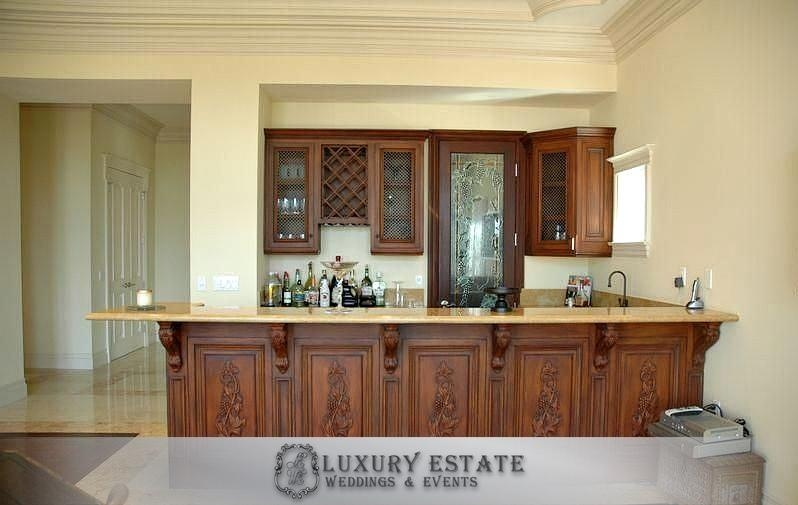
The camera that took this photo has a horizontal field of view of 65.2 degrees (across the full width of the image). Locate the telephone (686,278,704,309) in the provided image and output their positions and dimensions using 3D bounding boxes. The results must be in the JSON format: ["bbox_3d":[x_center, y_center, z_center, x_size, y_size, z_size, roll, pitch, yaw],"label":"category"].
[{"bbox_3d":[2.794,0.388,5.862,0.172,0.285,0.121,-1,0,-44],"label":"telephone"}]

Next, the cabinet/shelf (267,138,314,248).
[{"bbox_3d":[-1.230,-0.612,7.209,0.633,1.284,0.161,2,6,7],"label":"cabinet/shelf"}]

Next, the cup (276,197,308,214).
[{"bbox_3d":[-1.235,-0.532,7.152,0.243,0.145,0.245,1,2,0],"label":"cup"}]

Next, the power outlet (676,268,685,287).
[{"bbox_3d":[2.763,0.245,6.089,0.023,0.199,0.103,-1,0,-28],"label":"power outlet"}]

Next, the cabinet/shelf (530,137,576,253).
[{"bbox_3d":[1.778,-0.675,7.387,0.672,1.363,0.417,-1,6,-2],"label":"cabinet/shelf"}]

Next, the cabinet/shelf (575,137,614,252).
[{"bbox_3d":[2.206,-0.671,7.020,0.415,1.247,0.117,-2,3,-22],"label":"cabinet/shelf"}]

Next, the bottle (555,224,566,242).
[{"bbox_3d":[1.841,-0.227,7.135,0.145,0.189,0.027,-1,0,35],"label":"bottle"}]

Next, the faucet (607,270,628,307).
[{"bbox_3d":[2.363,0.385,6.750,0.211,0.384,0.720,-1,0,18],"label":"faucet"}]

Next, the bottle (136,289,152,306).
[{"bbox_3d":[-2.336,0.419,5.717,0.131,0.148,0.180,-1,0,-20],"label":"bottle"}]

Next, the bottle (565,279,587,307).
[{"bbox_3d":[2.106,0.487,7.384,0.262,0.434,0.252,5,-16,1],"label":"bottle"}]
